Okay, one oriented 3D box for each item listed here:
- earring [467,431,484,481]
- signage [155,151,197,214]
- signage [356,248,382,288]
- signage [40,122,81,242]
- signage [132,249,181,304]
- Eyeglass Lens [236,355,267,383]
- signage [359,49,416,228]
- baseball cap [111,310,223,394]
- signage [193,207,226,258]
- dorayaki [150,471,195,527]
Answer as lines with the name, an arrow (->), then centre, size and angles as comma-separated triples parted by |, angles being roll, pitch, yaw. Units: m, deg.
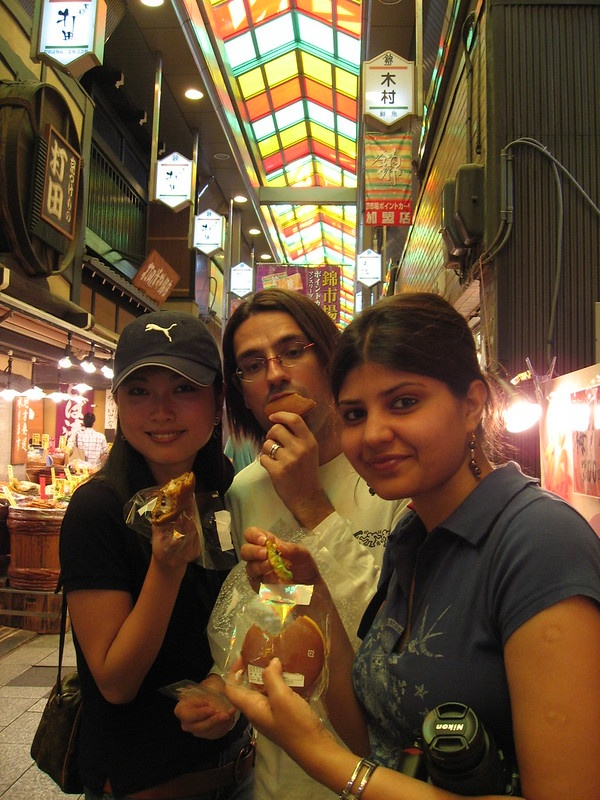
earring -> 0.327, 0.105, 1.122 | 0.023, 0.088, 0.077 | -2, -5, 11
signage -> -1.979, -3.474, 9.217 | 0.593, 1.013, 0.384 | 3, -6, -8
signage -> 1.392, -2.714, 11.857 | 0.453, 0.934, 0.645 | -2, -7, 33
signage -> -2.472, -2.232, 6.006 | 0.028, 1.112, 1.120 | -8, 22, -42
signage -> -2.671, -2.301, 10.649 | 0.307, 0.881, 0.957 | 19, -15, 30
Eyeglass Lens -> -0.160, -0.098, 1.898 | 0.085, 0.085, 0.039 | 21, 7, 20
signage -> 1.036, -3.072, 6.950 | 0.614, 2.004, 0.885 | 1, -6, 9
baseball cap -> -0.395, -0.161, 1.707 | 0.319, 0.209, 0.431 | 1, 3, -3
signage -> -1.785, -3.300, 11.402 | 0.591, 0.863, 0.301 | 4, -6, -12
dorayaki -> -0.263, 0.215, 1.261 | 0.067, 0.114, 0.039 | 41, 8, 26
